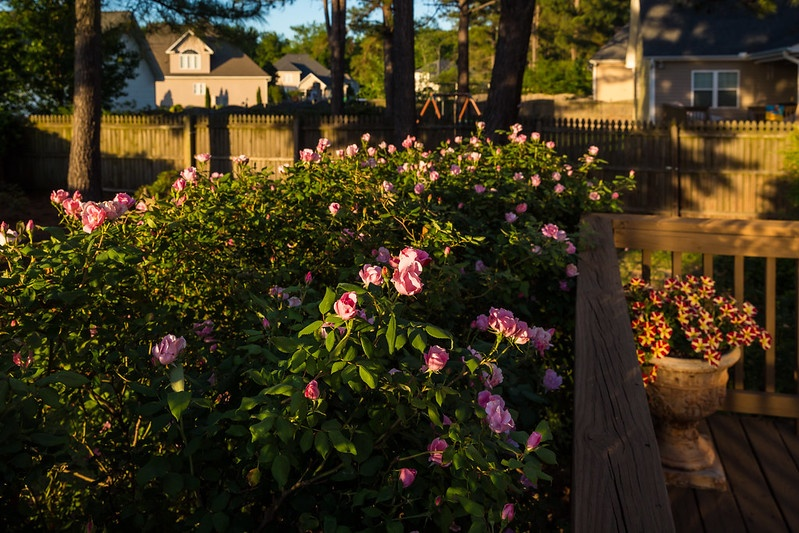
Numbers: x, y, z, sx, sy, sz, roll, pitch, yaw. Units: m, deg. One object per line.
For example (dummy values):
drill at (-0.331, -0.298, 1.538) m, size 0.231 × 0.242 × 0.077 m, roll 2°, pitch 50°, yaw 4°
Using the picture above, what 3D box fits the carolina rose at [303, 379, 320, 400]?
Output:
carolina rose at (-0.381, 0.534, 3.397) m, size 0.069 × 0.090 × 0.073 m, roll 0°, pitch 7°, yaw -8°

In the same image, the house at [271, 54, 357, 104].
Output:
house at (-10.653, -21.181, 85.129) m, size 5.915 × 5.631 × 10.767 m, roll 0°, pitch 8°, yaw -11°

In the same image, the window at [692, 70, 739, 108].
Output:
window at (10.695, -6.009, 25.847) m, size 1.724 × 1.847 × 0.198 m, roll 0°, pitch 6°, yaw 7°

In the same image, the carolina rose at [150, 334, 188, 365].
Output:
carolina rose at (-1.093, 0.393, 3.658) m, size 0.134 × 0.168 × 0.178 m, roll -1°, pitch 7°, yaw -19°

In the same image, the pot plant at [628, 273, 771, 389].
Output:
pot plant at (2.122, 0.355, 5.517) m, size 0.779 × 0.714 × 0.854 m, roll 12°, pitch 5°, yaw 21°

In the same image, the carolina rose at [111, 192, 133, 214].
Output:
carolina rose at (-1.519, -0.359, 4.229) m, size 0.100 × 0.084 × 0.112 m, roll -3°, pitch 17°, yaw -1°

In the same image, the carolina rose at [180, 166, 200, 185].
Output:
carolina rose at (-1.456, -0.656, 5.385) m, size 0.125 × 0.090 × 0.132 m, roll -21°, pitch -9°, yaw -21°

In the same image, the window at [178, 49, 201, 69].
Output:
window at (-16.841, -16.836, 62.271) m, size 1.234 × 1.501 × 0.107 m, roll 2°, pitch 13°, yaw -6°

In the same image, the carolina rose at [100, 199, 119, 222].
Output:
carolina rose at (-1.539, -0.304, 4.126) m, size 0.085 × 0.098 × 0.087 m, roll -23°, pitch 49°, yaw -29°

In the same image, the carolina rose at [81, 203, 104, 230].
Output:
carolina rose at (-1.626, -0.262, 4.093) m, size 0.134 × 0.160 × 0.137 m, roll 1°, pitch 7°, yaw -3°

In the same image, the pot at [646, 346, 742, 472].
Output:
pot at (1.961, 1.004, 5.429) m, size 0.624 × 0.680 × 0.624 m, roll 1°, pitch -7°, yaw 0°

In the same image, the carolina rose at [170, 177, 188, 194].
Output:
carolina rose at (-1.466, -0.549, 5.103) m, size 0.088 × 0.139 × 0.061 m, roll -2°, pitch -18°, yaw -13°
